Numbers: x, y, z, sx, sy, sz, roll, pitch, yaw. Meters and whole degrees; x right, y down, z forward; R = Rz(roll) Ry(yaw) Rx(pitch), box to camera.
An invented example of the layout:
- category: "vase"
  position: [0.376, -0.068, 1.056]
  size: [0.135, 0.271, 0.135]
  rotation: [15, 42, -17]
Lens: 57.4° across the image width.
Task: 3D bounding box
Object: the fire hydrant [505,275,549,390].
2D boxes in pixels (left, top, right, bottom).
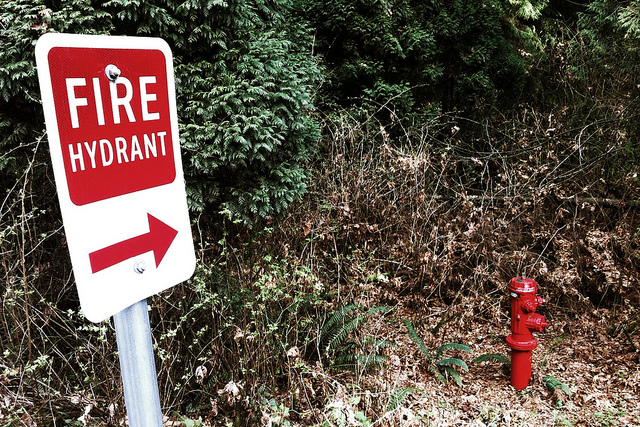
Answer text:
- category: "fire hydrant"
  position: [2.547, 1.470, 7.262]
  size: [0.460, 1.254, 0.649]
  rotation: [7, 26, 19]
